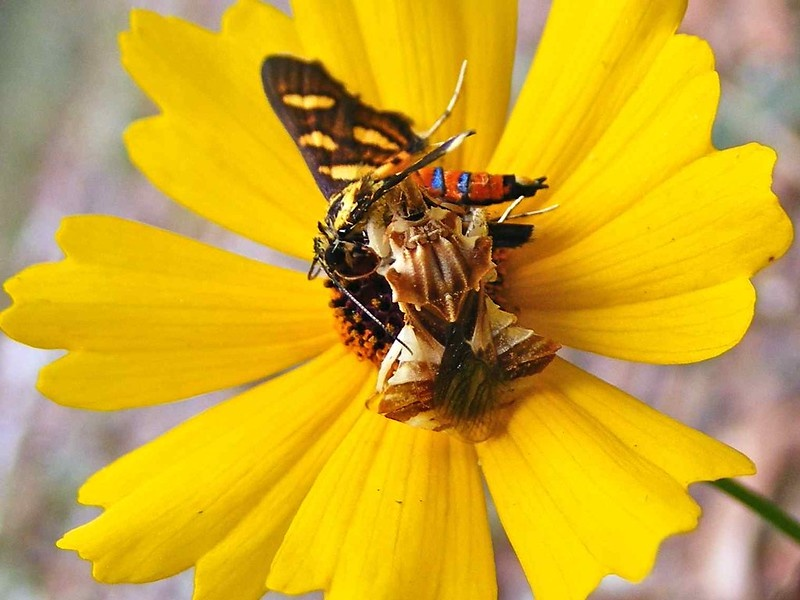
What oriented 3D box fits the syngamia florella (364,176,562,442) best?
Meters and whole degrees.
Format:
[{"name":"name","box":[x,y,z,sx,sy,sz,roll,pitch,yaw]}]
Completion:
[{"name":"syngamia florella","box":[0.069,0.026,1.307,0.286,0.113,0.384,-12,-86,-1]}]
